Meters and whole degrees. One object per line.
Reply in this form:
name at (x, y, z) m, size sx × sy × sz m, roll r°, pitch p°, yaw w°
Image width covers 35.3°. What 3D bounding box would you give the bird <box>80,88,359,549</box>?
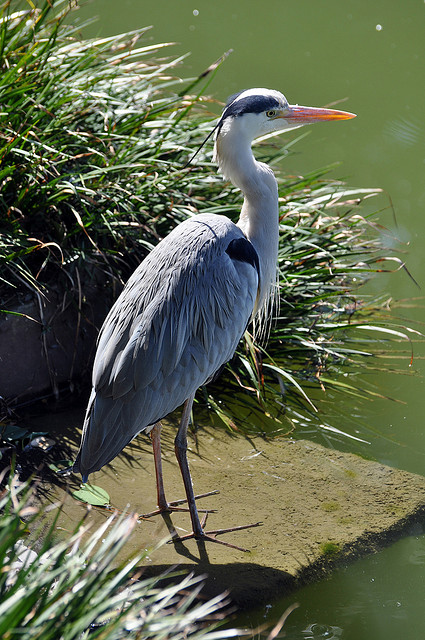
bird at (0.016, -0.097, 2.787) m, size 0.839 × 1.694 × 1.472 m, roll 8°, pitch 17°, yaw 9°
